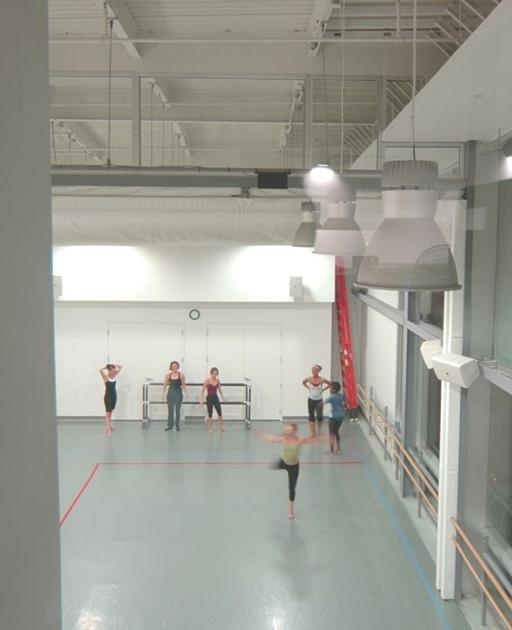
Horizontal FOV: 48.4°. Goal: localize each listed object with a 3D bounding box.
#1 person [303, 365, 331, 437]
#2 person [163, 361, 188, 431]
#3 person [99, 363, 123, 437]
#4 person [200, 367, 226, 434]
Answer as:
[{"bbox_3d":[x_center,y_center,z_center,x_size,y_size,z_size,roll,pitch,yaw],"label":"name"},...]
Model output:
[{"bbox_3d":[1.144,1.580,10.859,0.468,1.559,0.433,2,22,8],"label":"person"},{"bbox_3d":[-1.572,1.604,11.288,0.393,1.412,0.530,-1,5,-10],"label":"person"},{"bbox_3d":[-2.855,1.641,11.324,0.398,1.372,0.599,0,5,7],"label":"person"},{"bbox_3d":[-0.827,1.643,11.134,0.435,1.361,0.956,-1,5,-4],"label":"person"}]
